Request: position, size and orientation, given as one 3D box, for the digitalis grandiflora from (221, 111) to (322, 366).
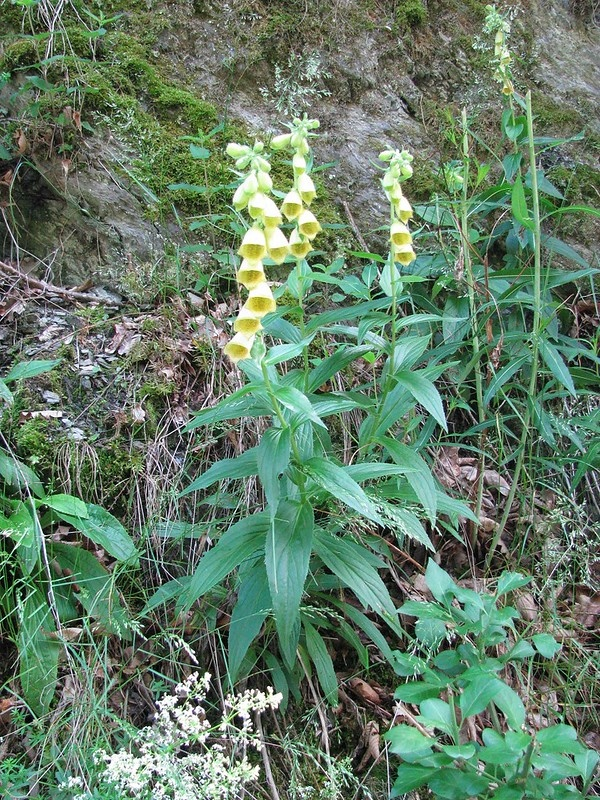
[{"bbox_3d":[-0.079,-0.606,2.338,0.408,0.311,0.921,5,68,9],"label":"digitalis grandiflora"}]
